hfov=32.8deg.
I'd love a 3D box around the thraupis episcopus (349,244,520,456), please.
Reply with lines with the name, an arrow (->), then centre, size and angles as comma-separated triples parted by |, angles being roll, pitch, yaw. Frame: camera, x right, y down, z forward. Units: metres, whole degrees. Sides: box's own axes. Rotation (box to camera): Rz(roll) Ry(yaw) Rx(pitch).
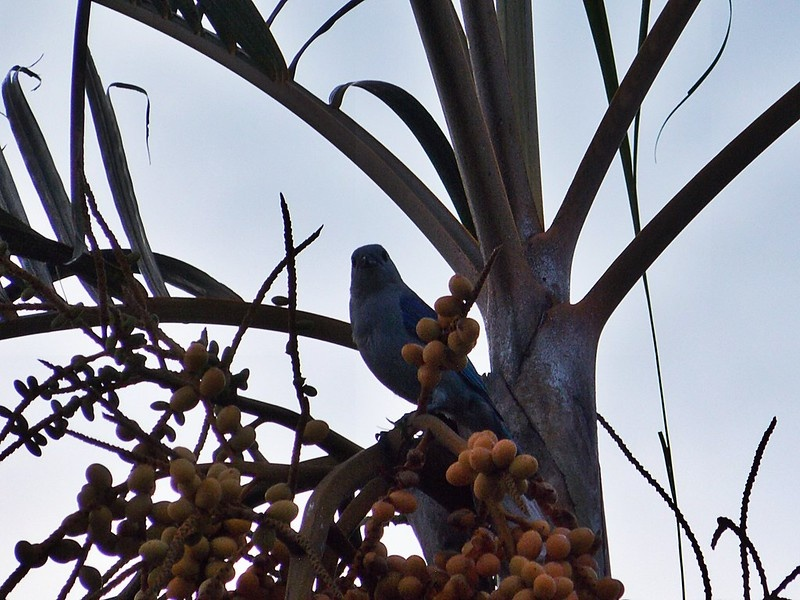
thraupis episcopus -> 0.097, 0.115, 2.759 | 0.385, 0.251, 0.103 | 41, -46, -19
